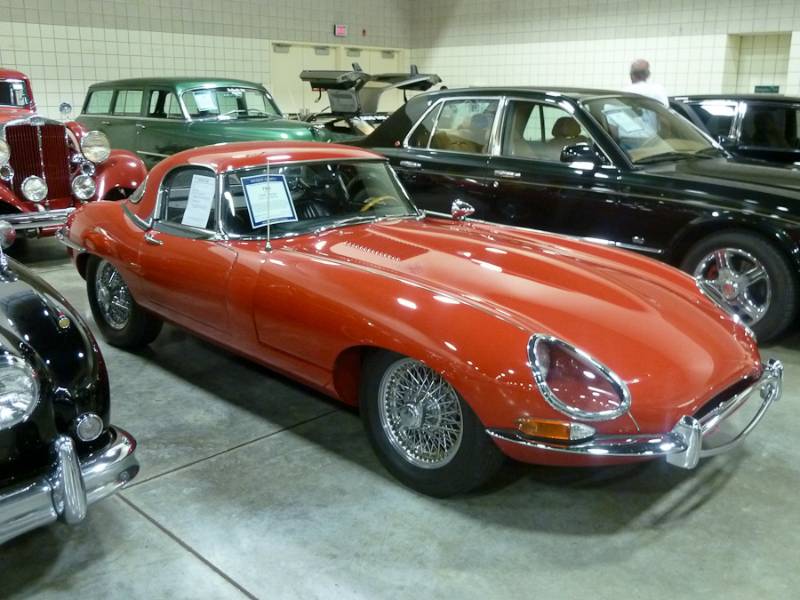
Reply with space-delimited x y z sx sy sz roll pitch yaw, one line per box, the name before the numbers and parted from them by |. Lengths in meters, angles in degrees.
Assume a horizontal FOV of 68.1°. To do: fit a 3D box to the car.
car | -0.554 -0.148 3.258 4.172 0.951 2.268 18 35 30
